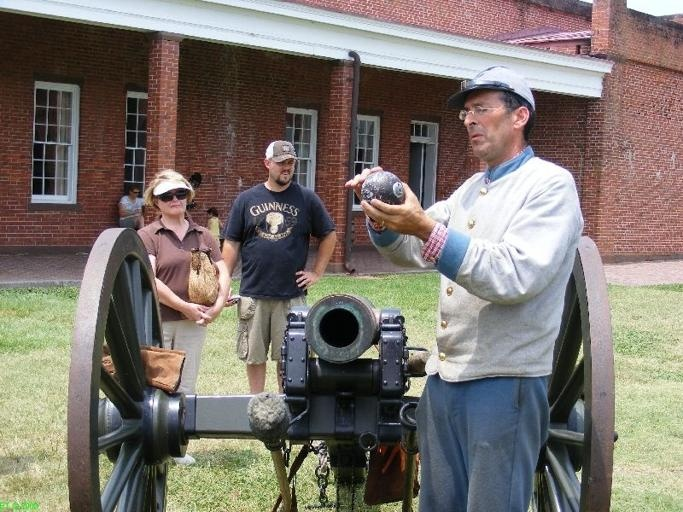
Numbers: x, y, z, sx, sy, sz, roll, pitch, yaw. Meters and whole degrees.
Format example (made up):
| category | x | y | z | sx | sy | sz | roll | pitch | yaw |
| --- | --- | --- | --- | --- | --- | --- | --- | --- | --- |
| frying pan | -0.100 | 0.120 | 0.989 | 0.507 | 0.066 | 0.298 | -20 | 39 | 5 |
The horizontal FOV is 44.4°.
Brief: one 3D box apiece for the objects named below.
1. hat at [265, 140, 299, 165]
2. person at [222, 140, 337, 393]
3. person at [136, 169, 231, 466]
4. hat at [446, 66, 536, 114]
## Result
| category | x | y | z | sx | sy | sz | roll | pitch | yaw |
| --- | --- | --- | --- | --- | --- | --- | --- | --- | --- |
| hat | -0.449 | -0.761 | 6.157 | 0.206 | 0.173 | 0.254 | 2 | 2 | -5 |
| person | -0.479 | 0.095 | 6.190 | 0.808 | 1.887 | 0.546 | 1 | 3 | -12 |
| person | -1.063 | 0.163 | 5.661 | 0.600 | 1.479 | 0.500 | 1 | 3 | -9 |
| hat | 0.670 | -0.733 | 3.680 | 0.286 | 0.157 | 0.233 | 14 | -4 | -3 |
